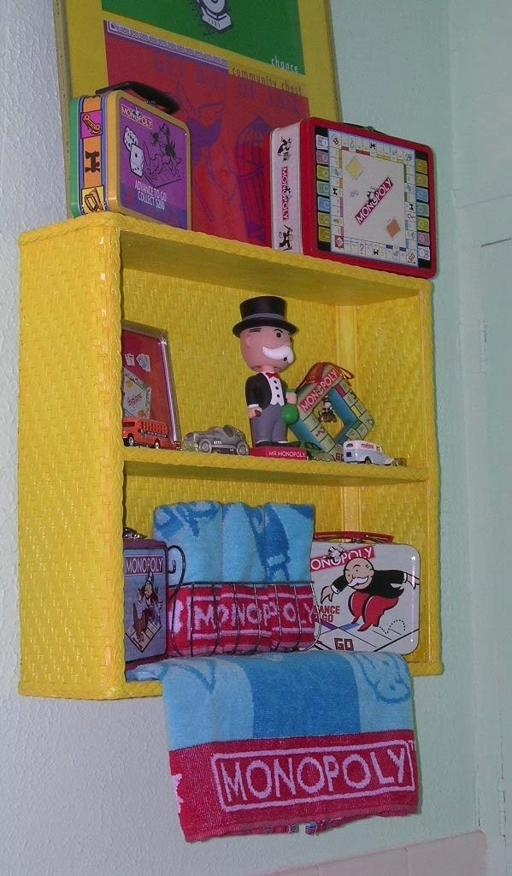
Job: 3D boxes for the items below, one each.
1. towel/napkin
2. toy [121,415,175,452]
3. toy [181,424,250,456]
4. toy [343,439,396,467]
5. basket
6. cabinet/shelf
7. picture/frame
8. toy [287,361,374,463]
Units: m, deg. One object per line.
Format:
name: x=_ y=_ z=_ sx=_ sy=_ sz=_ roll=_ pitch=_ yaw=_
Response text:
towel/napkin: x=0.013 y=0.321 z=1.256 sx=0.506 sy=0.447 sz=0.067 roll=11 pitch=-22 yaw=-44
toy: x=-0.144 y=-0.006 z=1.190 sx=0.028 sy=0.031 sz=0.110 roll=-3 pitch=3 yaw=21
toy: x=-0.057 y=0.005 z=1.261 sx=0.098 sy=0.048 sz=0.038 roll=7 pitch=-13 yaw=-37
toy: x=0.176 y=0.023 z=1.452 sx=0.069 sy=0.033 sz=0.041 roll=-1 pitch=2 yaw=-40
basket: x=-0.005 y=0.264 z=1.319 sx=0.264 sy=0.094 sz=0.091 roll=5 pitch=0 yaw=-39
cabinet/shelf: x=-0.007 y=0.043 z=1.369 sx=0.646 sy=0.620 sz=0.219 roll=2 pitch=-3 yaw=-41
picture/frame: x=-0.149 y=-0.072 z=1.266 sx=0.014 sy=0.180 sz=0.159 roll=-18 pitch=-24 yaw=29
toy: x=0.113 y=-0.041 z=1.480 sx=0.046 sy=0.152 sz=0.152 roll=-6 pitch=38 yaw=43
